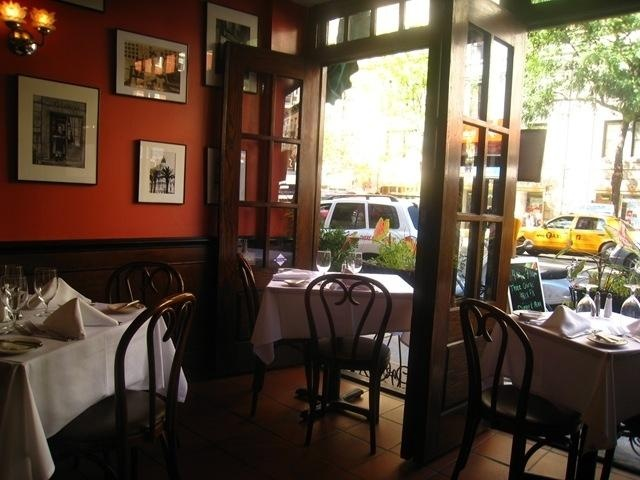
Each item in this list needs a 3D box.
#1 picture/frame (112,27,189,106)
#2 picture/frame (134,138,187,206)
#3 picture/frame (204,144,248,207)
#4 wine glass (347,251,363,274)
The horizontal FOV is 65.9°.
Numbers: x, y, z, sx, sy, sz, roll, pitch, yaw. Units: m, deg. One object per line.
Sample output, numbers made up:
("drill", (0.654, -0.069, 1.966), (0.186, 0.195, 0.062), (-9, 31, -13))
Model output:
("picture/frame", (-1.282, -1.299, 3.662), (0.604, 0.566, 0.020), (-1, 3, -41))
("picture/frame", (-1.234, -0.526, 3.763), (0.489, 0.658, 0.041), (0, 0, -44))
("picture/frame", (-0.757, -0.529, 3.957), (0.428, 0.662, 0.020), (-3, 7, -27))
("wine glass", (0.272, 0.170, 3.779), (0.123, 0.194, 0.127), (7, 6, 24))
